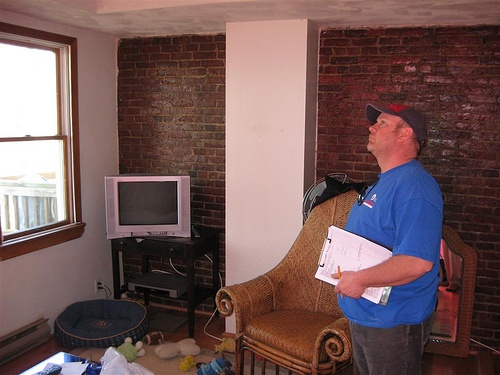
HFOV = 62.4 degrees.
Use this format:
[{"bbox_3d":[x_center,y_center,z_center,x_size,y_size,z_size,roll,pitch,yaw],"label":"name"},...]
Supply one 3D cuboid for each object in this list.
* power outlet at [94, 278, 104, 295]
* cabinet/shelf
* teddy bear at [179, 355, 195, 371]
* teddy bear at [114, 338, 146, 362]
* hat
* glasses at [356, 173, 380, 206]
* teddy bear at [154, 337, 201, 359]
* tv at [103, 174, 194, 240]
[{"bbox_3d":[-1.640,1.057,4.456,0.023,0.169,0.113,-1,9,17],"label":"power outlet"},{"bbox_3d":[-0.867,0.883,4.245,1.012,0.798,0.624,2,1,24],"label":"cabinet/shelf"},{"bbox_3d":[-0.523,1.457,3.457,0.105,0.051,0.135,17,22,23],"label":"teddy bear"},{"bbox_3d":[-1.025,1.388,3.557,0.212,0.179,0.338,-5,8,-15],"label":"teddy bear"},{"bbox_3d":[0.827,-0.369,2.241,0.375,0.179,0.225,23,6,3],"label":"hat"},{"bbox_3d":[0.734,0.009,2.555,0.059,0.217,0.171,37,24,8],"label":"glasses"},{"bbox_3d":[-0.632,1.400,3.613,0.284,0.070,0.162,1,0,-22],"label":"teddy bear"},{"bbox_3d":[-0.916,0.193,4.207,0.938,0.585,0.469,-2,1,17],"label":"tv"}]
